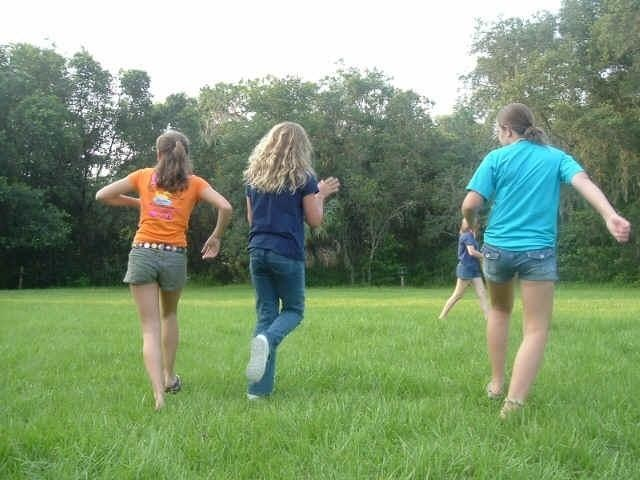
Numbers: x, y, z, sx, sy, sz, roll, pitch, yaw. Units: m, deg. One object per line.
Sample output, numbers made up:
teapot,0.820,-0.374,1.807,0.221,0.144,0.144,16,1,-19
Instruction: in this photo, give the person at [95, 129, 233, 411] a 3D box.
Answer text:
person,-1.683,0.245,6.915,1.297,2.328,0.901,-1,1,-21

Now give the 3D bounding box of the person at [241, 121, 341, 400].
person,-0.400,0.172,6.917,0.866,1.963,0.764,-1,1,-8

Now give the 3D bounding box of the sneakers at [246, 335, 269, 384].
sneakers,-0.628,1.239,6.639,0.189,0.513,0.217,4,-11,16
